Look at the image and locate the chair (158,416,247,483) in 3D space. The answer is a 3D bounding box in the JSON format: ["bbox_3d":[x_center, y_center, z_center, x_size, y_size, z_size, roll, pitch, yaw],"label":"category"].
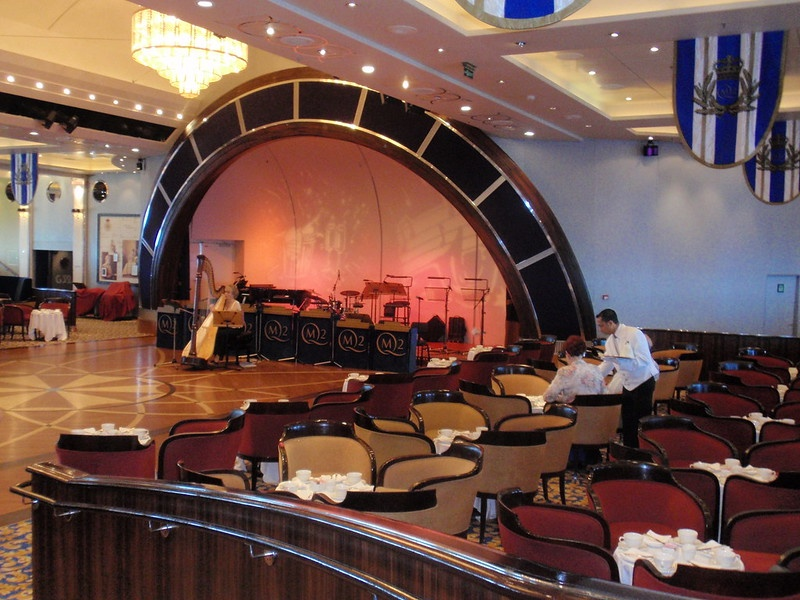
[{"bbox_3d":[-1.672,1.258,5.123,0.657,0.683,0.522,3,2,-15],"label":"chair"}]

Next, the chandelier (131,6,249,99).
[{"bbox_3d":[-3.832,-4.478,10.738,1.227,0.900,1.819,-6,-16,43],"label":"chandelier"}]

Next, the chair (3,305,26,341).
[{"bbox_3d":[-10.626,0.651,16.492,0.628,0.892,1.826,12,-14,-31],"label":"chair"}]

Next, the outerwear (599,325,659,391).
[{"bbox_3d":[2.569,0.675,6.937,0.720,0.718,0.804,-11,-5,30],"label":"outerwear"}]

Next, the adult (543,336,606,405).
[{"bbox_3d":[2.142,0.867,7.415,0.838,1.066,0.581,0,18,3],"label":"adult"}]

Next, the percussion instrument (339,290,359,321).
[{"bbox_3d":[-1.451,0.166,17.941,0.877,0.883,0.805,1,-8,3],"label":"percussion instrument"}]

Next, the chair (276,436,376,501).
[{"bbox_3d":[-0.567,1.246,4.561,0.474,0.569,0.472,1,-6,-8],"label":"chair"}]

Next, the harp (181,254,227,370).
[{"bbox_3d":[-4.113,0.216,12.830,0.871,2.295,0.854,1,-3,34],"label":"harp"}]

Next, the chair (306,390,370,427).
[{"bbox_3d":[-0.654,1.157,6.192,0.677,0.533,0.519,0,2,-7],"label":"chair"}]

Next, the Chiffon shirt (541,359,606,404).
[{"bbox_3d":[1.937,0.913,6.620,0.745,0.563,0.378,-5,8,-9],"label":"Chiffon shirt"}]

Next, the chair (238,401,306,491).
[{"bbox_3d":[-1.330,1.452,6.100,0.664,0.767,0.693,-7,-9,27],"label":"chair"}]

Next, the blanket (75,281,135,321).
[{"bbox_3d":[-10.430,-0.010,21.221,1.874,1.035,1.288,6,3,39],"label":"blanket"}]

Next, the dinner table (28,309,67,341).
[{"bbox_3d":[-9.204,0.669,15.841,0.820,0.657,0.911,1,-3,24],"label":"dinner table"}]
